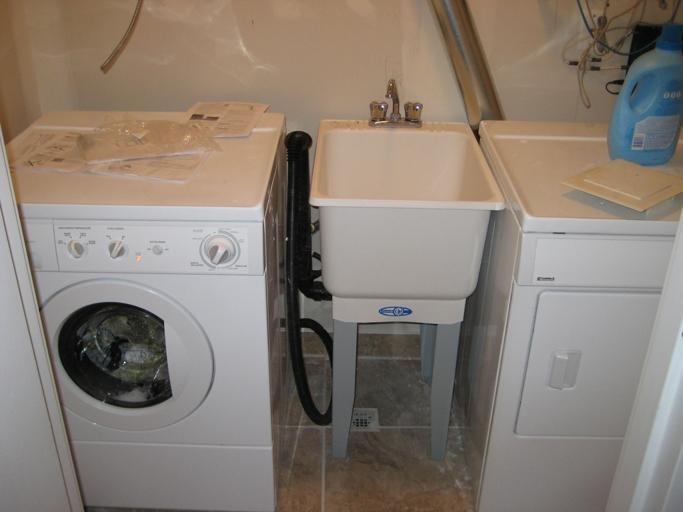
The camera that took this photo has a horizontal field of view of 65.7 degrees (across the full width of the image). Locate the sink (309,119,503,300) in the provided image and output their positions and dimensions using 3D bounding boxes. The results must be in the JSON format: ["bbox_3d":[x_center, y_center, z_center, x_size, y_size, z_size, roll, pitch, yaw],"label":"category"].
[{"bbox_3d":[0.191,-0.216,1.792,0.531,0.406,0.646,1,35,0],"label":"sink"}]

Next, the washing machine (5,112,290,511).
[{"bbox_3d":[-0.573,0.263,1.639,0.733,1.213,0.373,1,11,1],"label":"washing machine"}]
